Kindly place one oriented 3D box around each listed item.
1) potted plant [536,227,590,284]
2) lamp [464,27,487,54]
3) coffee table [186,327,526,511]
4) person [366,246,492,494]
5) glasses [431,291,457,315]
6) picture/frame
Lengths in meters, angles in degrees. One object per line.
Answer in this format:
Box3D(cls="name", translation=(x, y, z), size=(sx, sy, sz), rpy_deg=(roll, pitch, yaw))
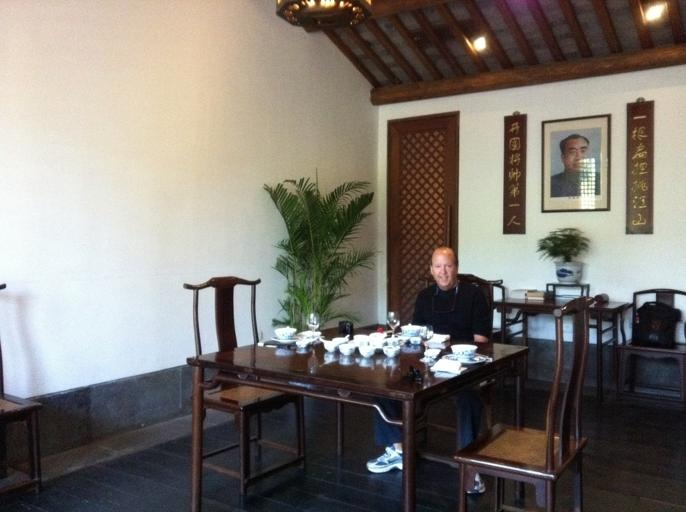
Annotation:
Box3D(cls="potted plant", translation=(2.090, 0.005, 5.412), size=(0.615, 0.576, 0.503), rpy_deg=(0, 2, 10))
Box3D(cls="lamp", translation=(1.276, -2.041, 5.226), size=(0.232, 0.202, 0.189), rpy_deg=(1, 5, 36))
Box3D(cls="coffee table", translation=(-0.051, 0.595, 2.780), size=(1.138, 0.680, 1.157), rpy_deg=(-3, -3, 39))
Box3D(cls="person", translation=(0.550, 0.684, 3.508), size=(0.938, 1.387, 0.967), rpy_deg=(-5, 3, 1))
Box3D(cls="glasses", translation=(0.679, 0.310, 3.693), size=(0.121, 0.163, 0.042), rpy_deg=(0, -15, 22))
Box3D(cls="picture/frame", translation=(2.274, -0.893, 5.342), size=(0.607, 0.900, 0.250), rpy_deg=(-1, 11, 21))
